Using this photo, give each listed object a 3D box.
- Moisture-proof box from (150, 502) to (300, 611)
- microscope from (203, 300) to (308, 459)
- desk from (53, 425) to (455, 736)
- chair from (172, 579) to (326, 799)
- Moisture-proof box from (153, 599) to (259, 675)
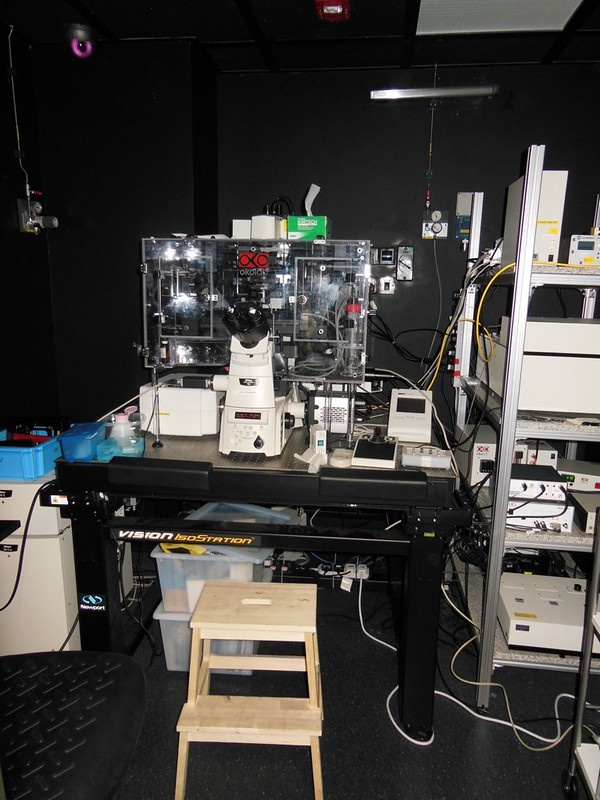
[{"bbox_3d":[-0.325,0.552,2.187,0.329,0.210,0.486,1,5,7],"label":"Moisture-proof box"},{"bbox_3d":[-0.092,-0.077,2.200,0.425,0.498,0.426,2,9,2],"label":"microscope"},{"bbox_3d":[-0.001,0.827,2.370,1.273,0.893,0.927,1,6,8],"label":"desk"},{"bbox_3d":[-0.130,0.829,1.916,0.426,0.540,0.561,0,-6,2],"label":"chair"},{"bbox_3d":[-0.331,0.837,2.305,0.396,0.273,0.287,0,1,1],"label":"Moisture-proof box"}]
